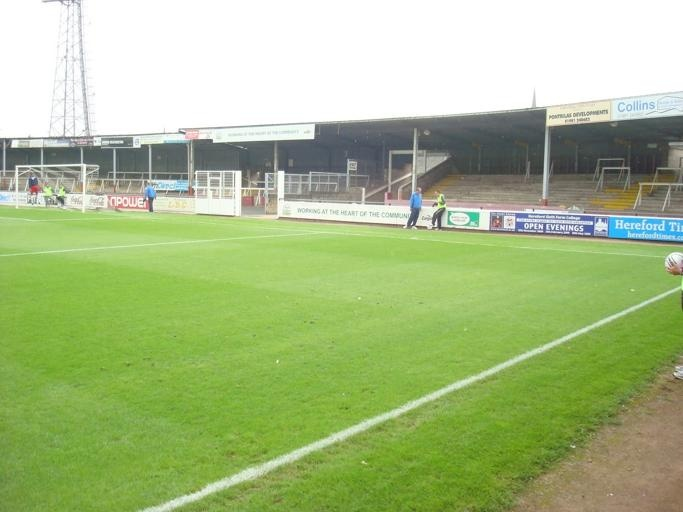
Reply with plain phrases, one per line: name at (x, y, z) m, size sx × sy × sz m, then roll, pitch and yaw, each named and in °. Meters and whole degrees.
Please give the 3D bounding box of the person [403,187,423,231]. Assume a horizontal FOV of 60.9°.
person at (3.309, -2.167, 26.399) m, size 0.703 × 1.778 × 0.806 m, roll 2°, pitch 9°, yaw 7°

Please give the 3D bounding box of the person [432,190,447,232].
person at (4.357, -1.964, 25.875) m, size 0.604 × 1.540 × 0.673 m, roll 2°, pitch 9°, yaw 9°

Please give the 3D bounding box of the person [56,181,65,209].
person at (-17.639, -3.711, 36.401) m, size 0.435 × 1.372 × 2.331 m, roll -4°, pitch 11°, yaw -28°

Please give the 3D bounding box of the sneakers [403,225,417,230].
sneakers at (3.156, -1.259, 26.646) m, size 0.554 × 0.237 × 0.217 m, roll 2°, pitch 25°, yaw -11°

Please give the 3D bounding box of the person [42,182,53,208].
person at (-19.041, -3.905, 37.654) m, size 0.470 × 1.301 × 2.750 m, roll -4°, pitch 10°, yaw -26°
